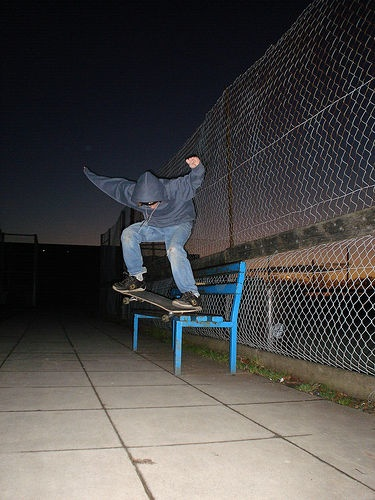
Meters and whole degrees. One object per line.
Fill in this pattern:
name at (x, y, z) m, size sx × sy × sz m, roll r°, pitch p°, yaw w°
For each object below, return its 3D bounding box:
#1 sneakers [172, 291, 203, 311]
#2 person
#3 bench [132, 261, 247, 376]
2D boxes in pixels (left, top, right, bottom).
sneakers at (-0.009, 0.526, 3.758) m, size 0.130 × 0.168 × 0.369 m, roll -6°, pitch -20°, yaw 35°
person at (-0.485, -0.228, 4.225) m, size 1.746 × 1.532 × 0.851 m, roll 7°, pitch 7°, yaw 36°
bench at (0.073, 0.665, 3.713) m, size 0.794 × 1.070 × 1.066 m, roll 3°, pitch -9°, yaw -15°
